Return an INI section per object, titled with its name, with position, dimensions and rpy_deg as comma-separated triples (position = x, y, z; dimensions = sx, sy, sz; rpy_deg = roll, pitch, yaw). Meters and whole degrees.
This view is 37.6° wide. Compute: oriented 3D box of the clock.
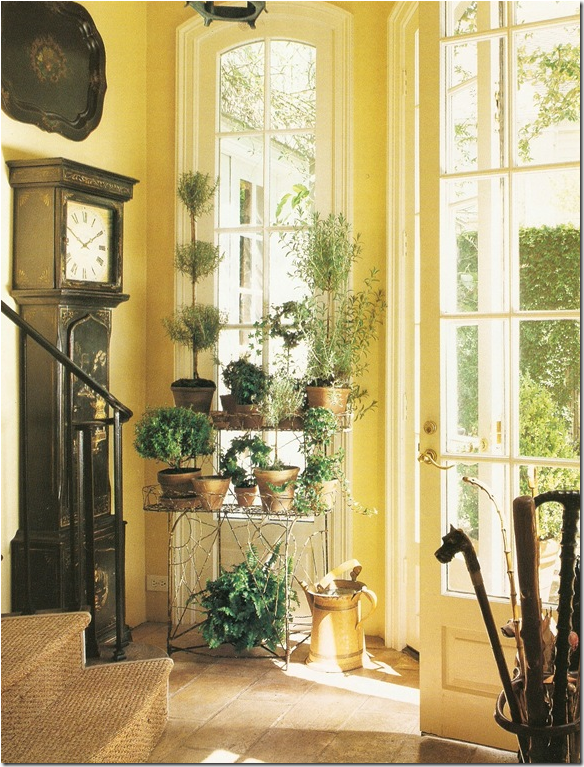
[clock]
position = -0.924, 0.153, 3.656
dimensions = 0.550, 2.189, 0.975
rpy_deg = -2, 2, -7

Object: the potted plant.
[potted plant]
position = -0.126, 0.081, 4.046
dimensions = 1.120, 2.330, 0.825
rpy_deg = -1, 2, 6
